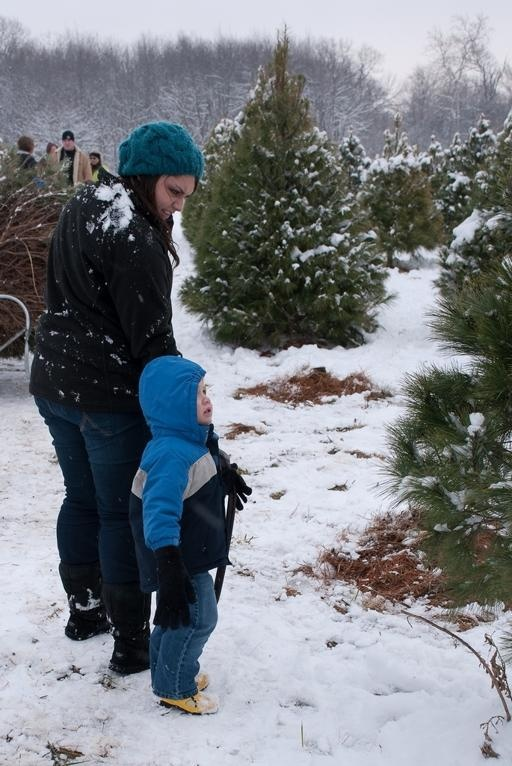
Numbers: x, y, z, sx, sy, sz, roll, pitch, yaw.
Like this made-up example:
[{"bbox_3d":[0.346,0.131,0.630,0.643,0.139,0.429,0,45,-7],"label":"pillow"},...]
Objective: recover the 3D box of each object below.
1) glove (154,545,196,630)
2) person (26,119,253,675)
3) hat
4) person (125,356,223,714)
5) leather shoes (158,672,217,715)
[{"bbox_3d":[-0.246,0.632,2.572,0.121,0.307,0.176,3,12,-4],"label":"glove"},{"bbox_3d":[-0.456,0.045,3.091,0.697,1.900,0.623,-7,13,-31],"label":"person"},{"bbox_3d":[-0.300,-0.781,2.922,0.305,0.213,0.314,-9,21,-26],"label":"hat"},{"bbox_3d":[-0.249,0.520,2.739,0.321,1.168,0.548,2,12,-6],"label":"person"},{"bbox_3d":[-0.232,1.050,2.884,0.169,0.123,0.083,0,7,-28],"label":"leather shoes"}]
